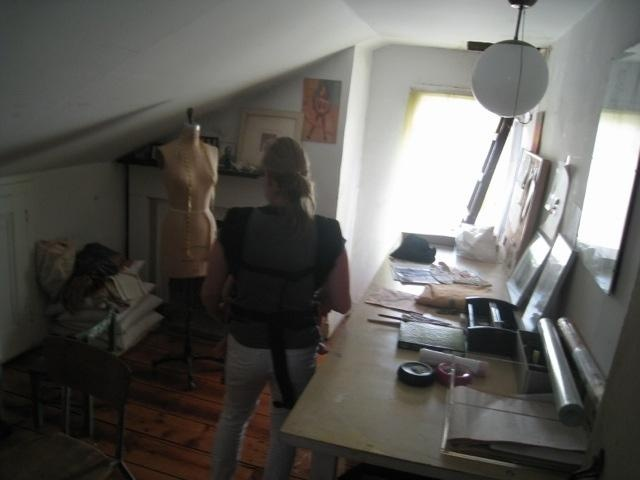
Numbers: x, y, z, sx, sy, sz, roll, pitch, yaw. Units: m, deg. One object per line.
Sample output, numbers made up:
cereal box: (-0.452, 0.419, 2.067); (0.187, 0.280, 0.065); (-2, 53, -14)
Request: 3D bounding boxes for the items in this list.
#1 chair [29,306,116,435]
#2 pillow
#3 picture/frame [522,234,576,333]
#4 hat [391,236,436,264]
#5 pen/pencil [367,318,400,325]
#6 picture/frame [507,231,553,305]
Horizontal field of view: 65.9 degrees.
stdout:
chair: (-1.400, 0.755, 2.807); (0.420, 0.693, 0.485); (18, 24, 7)
pillow: (-1.568, 0.548, 3.881); (0.505, 0.215, 0.645); (12, 12, 11)
picture/frame: (1.217, 0.241, 2.617); (0.028, 0.423, 0.369); (19, 34, 9)
hat: (0.740, 0.062, 3.822); (0.237, 0.092, 0.236); (5, 38, 16)
pen/pencil: (0.334, 0.438, 2.645); (0.153, 0.027, 0.013); (6, 2, 19)
picture/frame: (1.286, 0.177, 3.017); (0.034, 0.522, 0.385); (28, -8, 9)
